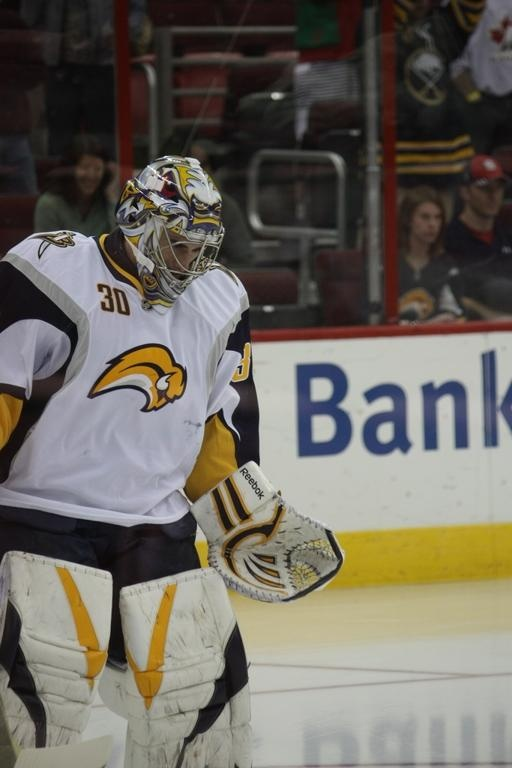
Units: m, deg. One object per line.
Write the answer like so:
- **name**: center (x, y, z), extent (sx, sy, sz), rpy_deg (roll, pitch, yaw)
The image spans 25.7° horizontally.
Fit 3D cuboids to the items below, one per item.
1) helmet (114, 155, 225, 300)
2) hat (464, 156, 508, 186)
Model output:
- **helmet**: center (-0.192, -0.335, 2.469), extent (0.224, 0.326, 0.124), rpy_deg (-2, 12, -6)
- **hat**: center (0.893, -0.848, 4.396), extent (0.112, 0.066, 0.139), rpy_deg (-6, 11, -21)
